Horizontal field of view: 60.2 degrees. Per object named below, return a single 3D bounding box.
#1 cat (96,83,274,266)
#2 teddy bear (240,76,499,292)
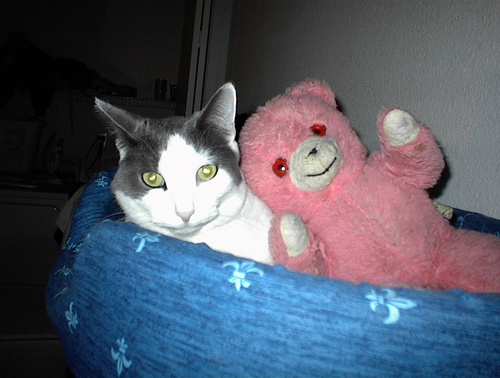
[{"bbox_3d":[-0.175,-0.041,1.200,0.406,0.486,0.597,-7,26,-6],"label":"cat"},{"bbox_3d":[0.216,-0.026,0.844,0.533,0.388,0.219,8,6,15],"label":"teddy bear"}]
